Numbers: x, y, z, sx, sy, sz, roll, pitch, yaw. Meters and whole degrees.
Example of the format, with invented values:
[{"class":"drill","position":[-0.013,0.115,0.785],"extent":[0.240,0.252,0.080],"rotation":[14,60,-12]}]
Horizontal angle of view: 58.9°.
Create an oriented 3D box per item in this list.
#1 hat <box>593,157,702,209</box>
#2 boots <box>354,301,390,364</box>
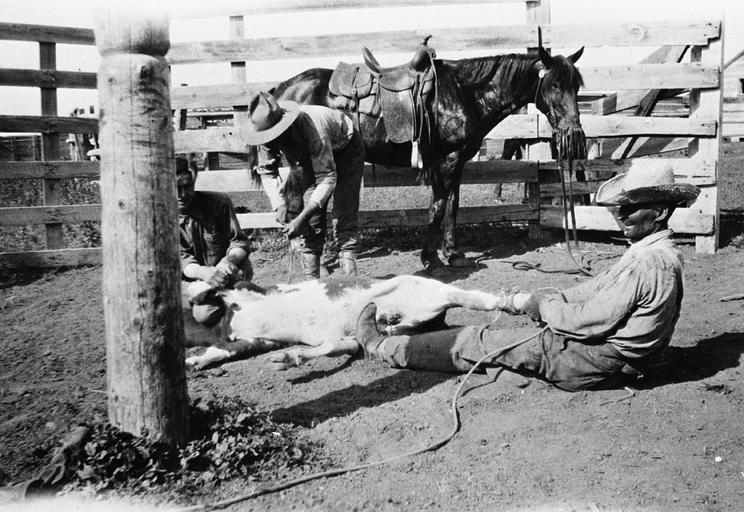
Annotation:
[{"class":"hat","position":[2.199,-0.620,5.243],"extent":[0.848,0.361,0.737],"rotation":[2,15,29]},{"class":"boots","position":[-0.021,0.662,5.769],"extent":[0.200,0.589,0.398],"rotation":[2,9,-22]}]
